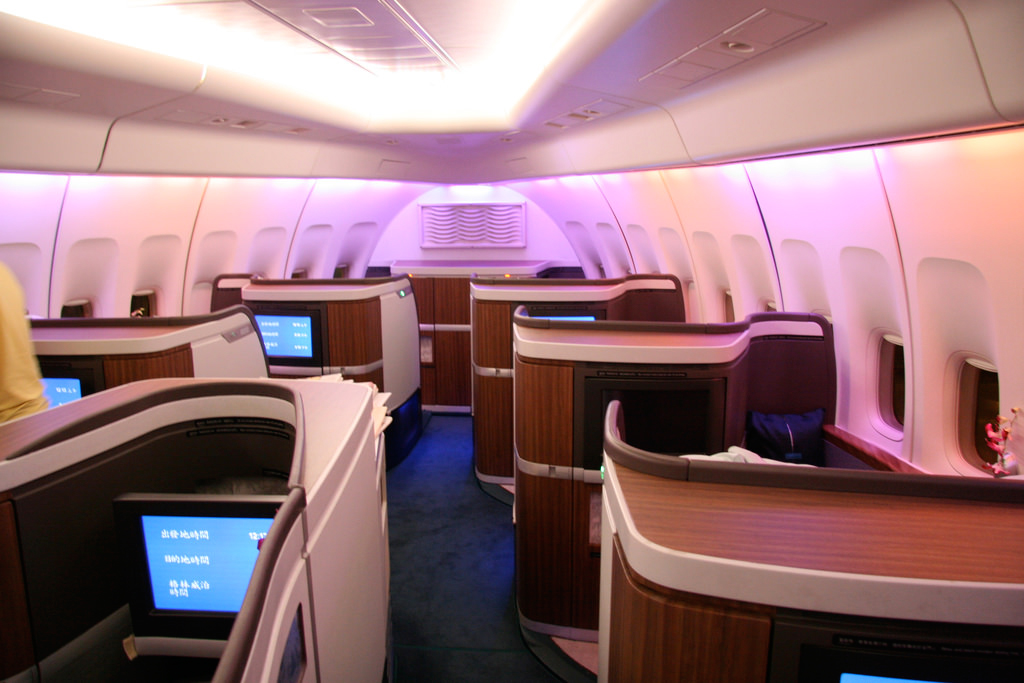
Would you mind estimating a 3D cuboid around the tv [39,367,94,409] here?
[{"bbox_3d":[-2.902,0.289,4.654,0.255,0.296,0.030,-2,4,-17],"label":"tv"}]

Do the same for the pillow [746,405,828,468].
[{"bbox_3d":[2.238,0.867,5.818,0.625,0.618,0.247,-3,-16,4],"label":"pillow"}]

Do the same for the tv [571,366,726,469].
[{"bbox_3d":[0.933,0.296,4.934,0.996,0.726,0.561,0,2,1],"label":"tv"}]
